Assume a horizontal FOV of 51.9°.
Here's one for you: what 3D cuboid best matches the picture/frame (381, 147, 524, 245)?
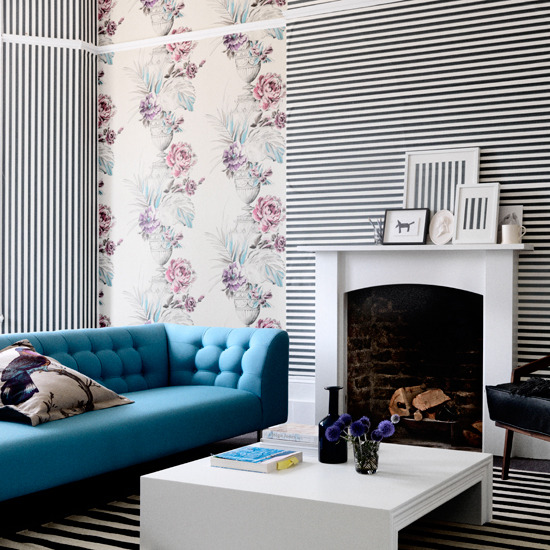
[{"bbox_3d":[1.086,-0.461,3.346,0.649,0.530,0.179,-2,-6,35],"label":"picture/frame"}]

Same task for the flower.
[{"bbox_3d":[0.267,0.527,1.768,0.208,0.170,0.225,11,-21,-24],"label":"flower"}]

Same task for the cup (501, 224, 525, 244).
[{"bbox_3d":[1.309,-0.227,3.105,0.153,0.125,0.098,1,0,40],"label":"cup"}]

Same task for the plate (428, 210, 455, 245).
[{"bbox_3d":[0.992,-0.292,3.357,0.149,0.198,0.128,3,8,22],"label":"plate"}]
